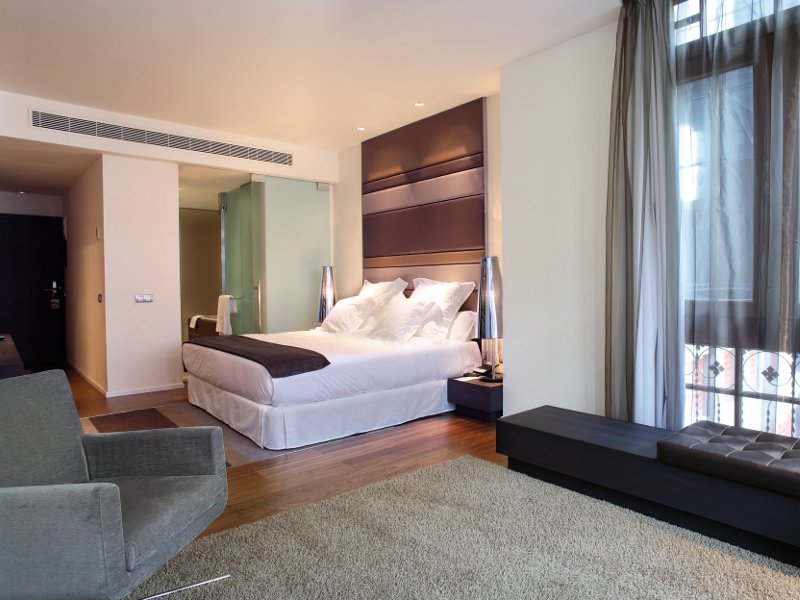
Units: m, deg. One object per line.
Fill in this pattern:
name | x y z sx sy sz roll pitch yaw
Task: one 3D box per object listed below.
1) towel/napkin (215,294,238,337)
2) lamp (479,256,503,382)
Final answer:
towel/napkin | -2.142 0.199 7.115 0.486 0.585 0.121 -5 -7 42
lamp | 0.818 0.134 5.186 0.215 1.049 0.601 1 11 8
